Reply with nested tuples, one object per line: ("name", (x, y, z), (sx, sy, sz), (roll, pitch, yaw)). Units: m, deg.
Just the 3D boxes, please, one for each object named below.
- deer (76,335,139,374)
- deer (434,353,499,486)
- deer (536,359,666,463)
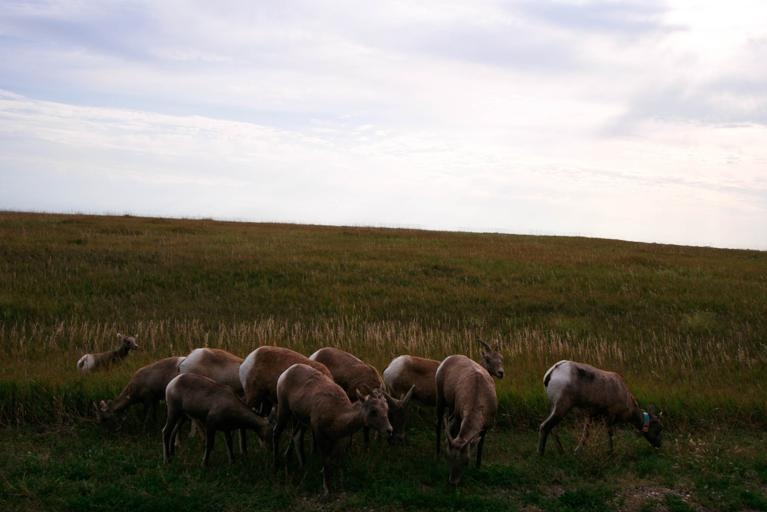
("deer", (-9.992, 3.680, 33.956), (1.898, 1.652, 0.718), (-2, 10, -10))
("deer", (2.565, 5.036, 29.562), (1.965, 3.590, 1.771), (1, -5, -5))
("deer", (6.726, 5.221, 31.398), (3.011, 3.421, 5.009), (-3, -5, -2))
